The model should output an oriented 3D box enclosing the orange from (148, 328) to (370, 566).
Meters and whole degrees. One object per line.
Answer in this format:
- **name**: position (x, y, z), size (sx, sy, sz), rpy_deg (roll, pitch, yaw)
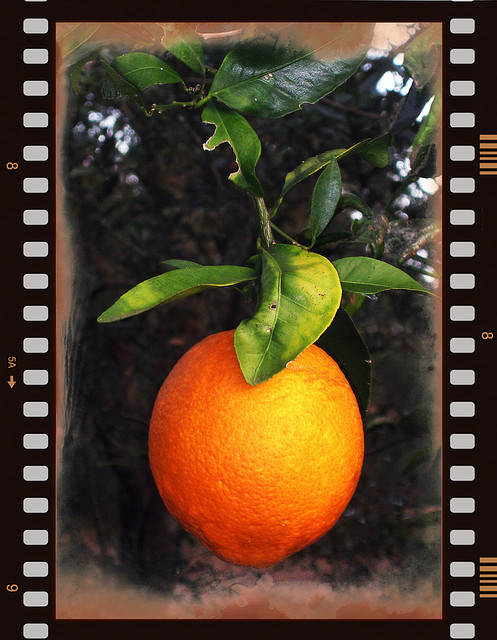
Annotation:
- **orange**: position (0.000, 0.166, 0.941), size (0.277, 0.264, 0.267), rpy_deg (9, 106, 1)
